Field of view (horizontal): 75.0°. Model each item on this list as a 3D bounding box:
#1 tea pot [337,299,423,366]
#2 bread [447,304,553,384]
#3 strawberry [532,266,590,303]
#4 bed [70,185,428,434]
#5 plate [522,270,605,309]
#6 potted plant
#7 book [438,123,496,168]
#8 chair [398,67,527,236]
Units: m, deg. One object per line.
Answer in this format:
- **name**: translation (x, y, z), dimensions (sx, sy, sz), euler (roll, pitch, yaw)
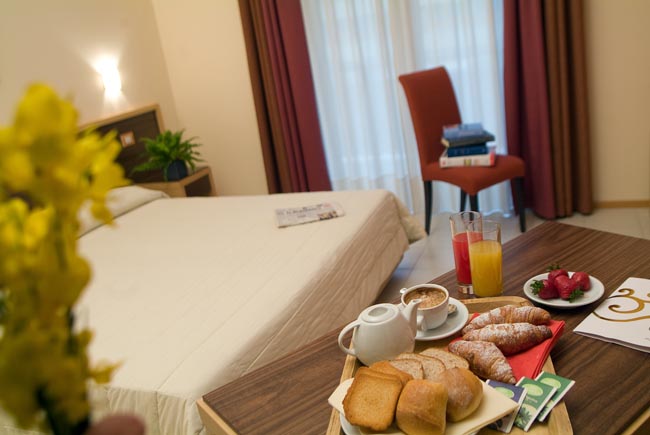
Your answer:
- **tea pot**: translation (0.152, 0.298, 1.149), dimensions (0.214, 0.127, 0.142), euler (-19, 19, -5)
- **bread**: translation (0.489, 0.326, 1.114), dimensions (0.182, 0.047, 0.195), euler (10, 41, 37)
- **strawberry**: translation (0.729, 0.203, 1.314), dimensions (0.114, 0.050, 0.116), euler (-9, 18, 9)
- **bed**: translation (-0.319, 0.283, 2.041), dimensions (1.254, 0.309, 1.288), euler (7, 28, 46)
- **plate**: translation (0.733, 0.240, 1.311), dimensions (0.144, 0.035, 0.144), euler (6, 27, 40)
- **potted plant**: translation (-1.516, -0.537, 4.146), dimensions (0.610, 0.451, 0.595), euler (-2, 29, 1)
- **book**: translation (1.063, -0.537, 3.177), dimensions (0.357, 0.225, 0.359), euler (-2, 21, 7)
- **chair**: translation (1.071, -0.525, 3.354), dimensions (0.617, 1.192, 0.756), euler (-24, 30, -24)
